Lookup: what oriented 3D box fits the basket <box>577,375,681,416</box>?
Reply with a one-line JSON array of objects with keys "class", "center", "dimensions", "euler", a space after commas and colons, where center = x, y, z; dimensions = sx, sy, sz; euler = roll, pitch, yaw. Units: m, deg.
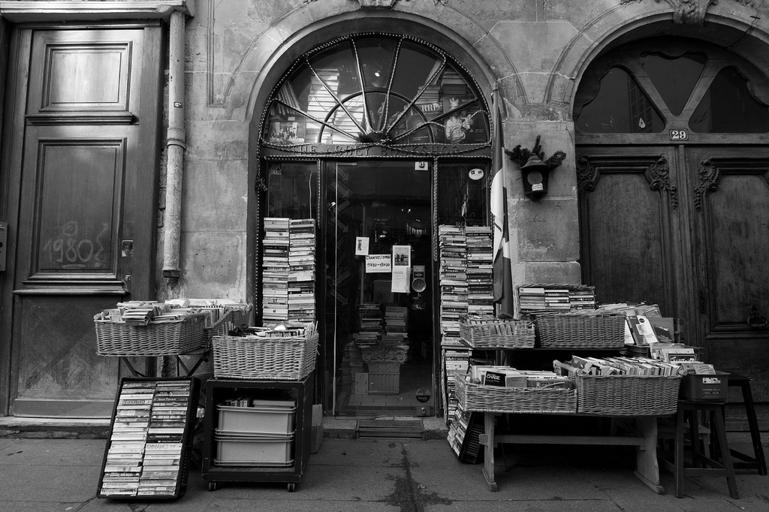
[{"class": "basket", "center": [2.733, 1.566, 9.512], "dimensions": [0.774, 0.274, 0.564], "euler": [-1, -7, 8]}]

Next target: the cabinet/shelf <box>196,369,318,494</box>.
[{"class": "cabinet/shelf", "center": [-1.425, 2.097, 10.088], "dimensions": [1.256, 1.266, 1.268], "euler": [1, -8, 0]}]

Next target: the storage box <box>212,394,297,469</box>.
[{"class": "storage box", "center": [-1.476, 1.978, 9.629], "dimensions": [0.813, 0.503, 0.799], "euler": [2, -8, -8]}]

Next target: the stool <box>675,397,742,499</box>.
[{"class": "stool", "center": [3.729, 2.176, 9.849], "dimensions": [0.704, 1.067, 0.943], "euler": [0, 0, 19]}]

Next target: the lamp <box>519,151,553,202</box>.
[{"class": "lamp", "center": [1.986, -1.063, 11.200], "dimensions": [0.428, 0.578, 0.423], "euler": [-4, -3, 14]}]

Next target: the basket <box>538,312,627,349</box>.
[{"class": "basket", "center": [2.322, 0.883, 9.956], "dimensions": [0.710, 0.269, 0.499], "euler": [1, -6, -2]}]
